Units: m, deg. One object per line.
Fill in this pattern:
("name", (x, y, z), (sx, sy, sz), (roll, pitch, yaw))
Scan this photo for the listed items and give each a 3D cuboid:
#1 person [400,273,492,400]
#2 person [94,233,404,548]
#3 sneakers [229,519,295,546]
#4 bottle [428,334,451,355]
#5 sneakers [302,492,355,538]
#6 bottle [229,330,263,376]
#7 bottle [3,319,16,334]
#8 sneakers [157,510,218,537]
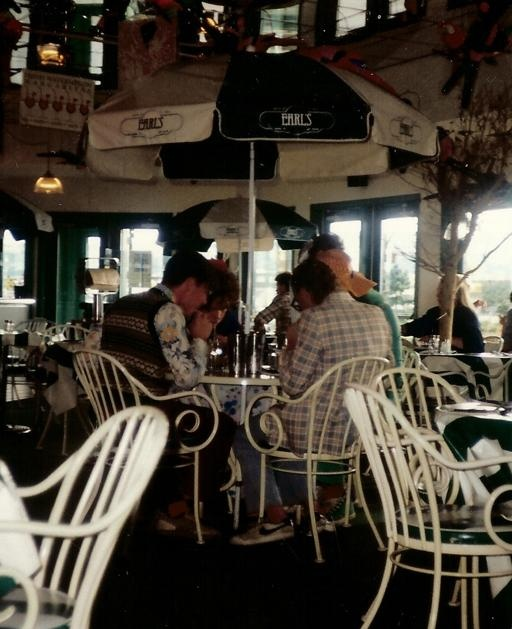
("person", (1.713, 0.105, 5.397), (0.715, 0.845, 0.422), (4, 39, 32))
("person", (0.073, 0.306, 3.117), (1.435, 1.127, 1.359), (0, 1, 7))
("sneakers", (0.036, 0.990, 2.734), (0.302, 0.107, 0.102), (-3, -12, -10))
("bottle", (1.567, 0.255, 4.908), (0.202, 0.181, 0.107), (1, -1, -17))
("sneakers", (0.392, 0.994, 2.983), (0.116, 0.135, 0.345), (-6, -7, 33))
("bottle", (-0.041, 0.184, 2.763), (0.221, 0.263, 0.178), (1, -9, 2))
("bottle", (-2.589, 0.117, 6.184), (0.149, 0.156, 0.143), (-4, 5, -37))
("sneakers", (-0.300, 0.973, 2.788), (0.322, 0.114, 0.104), (-1, -8, 6))
